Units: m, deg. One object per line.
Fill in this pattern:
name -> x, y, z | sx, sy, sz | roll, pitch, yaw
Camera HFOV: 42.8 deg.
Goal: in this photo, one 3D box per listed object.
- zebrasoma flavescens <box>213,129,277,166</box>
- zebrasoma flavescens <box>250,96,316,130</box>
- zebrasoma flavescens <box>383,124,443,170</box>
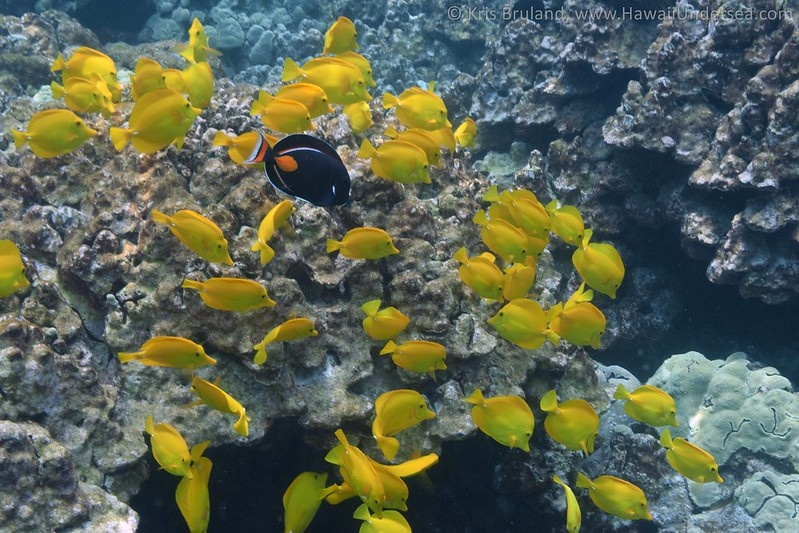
zebrasoma flavescens -> -2.155, -1.646, 14.153 | 0.797, 0.312, 0.367 | 7, 65, 3
zebrasoma flavescens -> -1.615, -2.135, 14.421 | 0.849, 0.424, 0.402 | 8, 65, 4
zebrasoma flavescens -> 0.197, -1.706, 14.592 | 0.866, 0.261, 0.417 | 33, 69, 1
